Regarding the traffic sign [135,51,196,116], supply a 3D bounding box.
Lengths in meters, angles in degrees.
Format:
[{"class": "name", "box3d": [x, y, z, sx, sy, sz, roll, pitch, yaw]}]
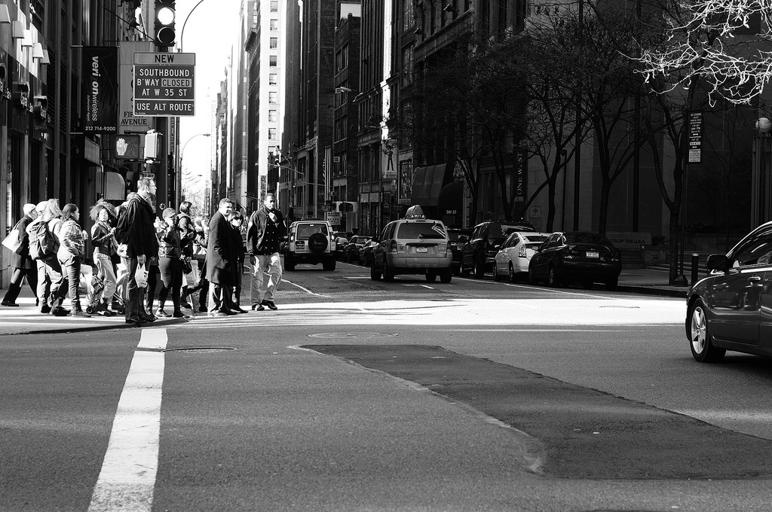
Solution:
[{"class": "traffic sign", "box3d": [-7.281, -5.651, 29.421, 2.043, 2.112, 1.021, 0, 2, -4]}]

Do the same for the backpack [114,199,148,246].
[{"class": "backpack", "box3d": [-4.758, -0.666, 16.771, 0.602, 0.903, 0.355, 0, 2, -6]}]

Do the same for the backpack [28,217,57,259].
[{"class": "backpack", "box3d": [-7.572, -0.378, 19.779, 0.595, 0.777, 0.442, -24, -26, 27]}]
